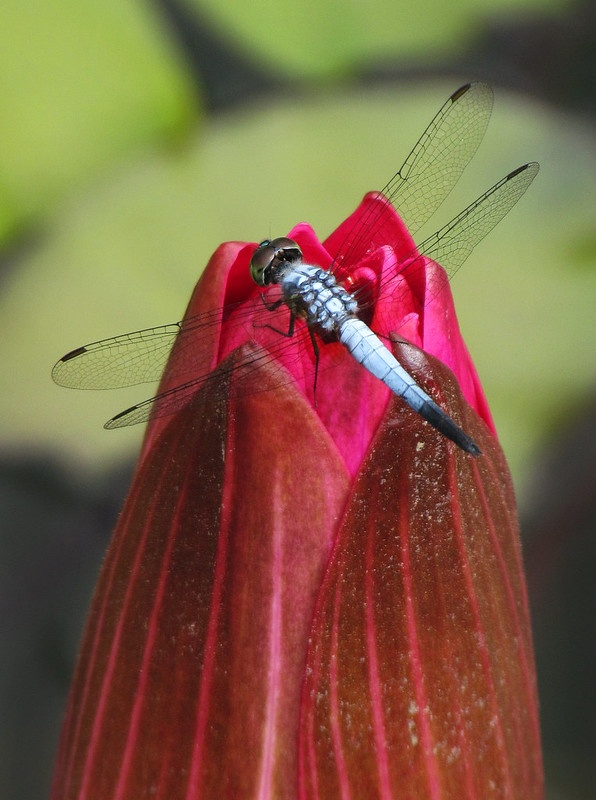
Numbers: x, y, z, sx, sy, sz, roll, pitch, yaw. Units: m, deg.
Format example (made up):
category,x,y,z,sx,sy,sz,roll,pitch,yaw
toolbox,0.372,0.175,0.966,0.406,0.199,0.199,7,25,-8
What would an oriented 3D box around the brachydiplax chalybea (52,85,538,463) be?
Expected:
category,x,y,z,sx,sy,sz,roll,pitch,yaw
brachydiplax chalybea,0.031,-0.057,0.657,0.380,0.211,0.142,-31,56,4
